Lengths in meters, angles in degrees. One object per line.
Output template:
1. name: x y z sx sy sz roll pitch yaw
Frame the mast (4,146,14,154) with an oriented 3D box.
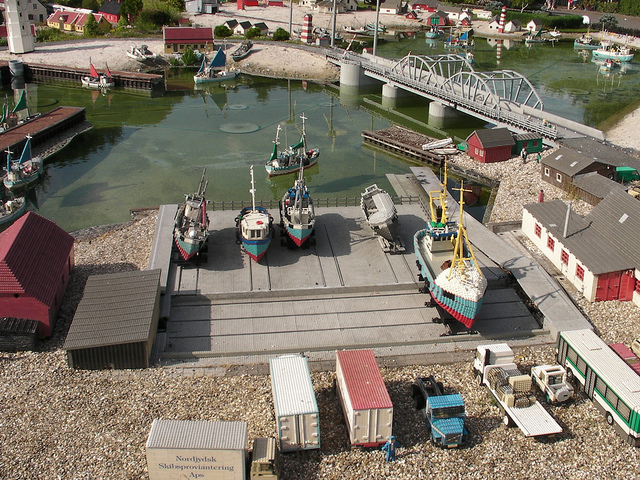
1. mast: -33.841 -9.838 55.325 0.954 0.965 0.960 1 1 1

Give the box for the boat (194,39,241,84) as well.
1. boat: -18.308 -31.006 90.580 6.596 3.977 9.647 4 35 -3

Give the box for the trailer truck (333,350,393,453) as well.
1. trailer truck: 2.026 7.701 25.042 2.041 2.445 4.201 -3 33 -6

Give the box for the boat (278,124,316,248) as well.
1. boat: -1.614 -1.920 37.294 2.223 7.590 2.113 1 19 -14

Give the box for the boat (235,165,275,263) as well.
1. boat: -4.736 -2.008 36.927 2.976 4.995 8.031 -4 24 -8

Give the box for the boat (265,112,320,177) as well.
1. boat: -3.025 -10.107 55.198 7.670 5.745 2.745 -21 39 -38

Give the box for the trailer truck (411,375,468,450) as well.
1. trailer truck: 5.909 8.406 24.736 2.432 2.463 1.959 4 14 -1

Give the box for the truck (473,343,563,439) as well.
1. truck: 9.751 7.701 25.674 1.823 2.304 4.957 -9 37 -20

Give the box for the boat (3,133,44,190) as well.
1. boat: -31.356 -7.720 53.113 2.927 3.080 5.748 12 35 9

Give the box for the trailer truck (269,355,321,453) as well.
1. trailer truck: -1.338 8.014 25.120 1.976 2.174 4.300 -4 24 -10

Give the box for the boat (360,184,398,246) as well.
1. boat: 4.558 -1.878 39.100 2.202 2.034 5.812 2 35 -6

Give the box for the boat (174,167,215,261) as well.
1. boat: -9.367 -0.951 36.937 2.379 2.228 5.970 -2 36 -11
